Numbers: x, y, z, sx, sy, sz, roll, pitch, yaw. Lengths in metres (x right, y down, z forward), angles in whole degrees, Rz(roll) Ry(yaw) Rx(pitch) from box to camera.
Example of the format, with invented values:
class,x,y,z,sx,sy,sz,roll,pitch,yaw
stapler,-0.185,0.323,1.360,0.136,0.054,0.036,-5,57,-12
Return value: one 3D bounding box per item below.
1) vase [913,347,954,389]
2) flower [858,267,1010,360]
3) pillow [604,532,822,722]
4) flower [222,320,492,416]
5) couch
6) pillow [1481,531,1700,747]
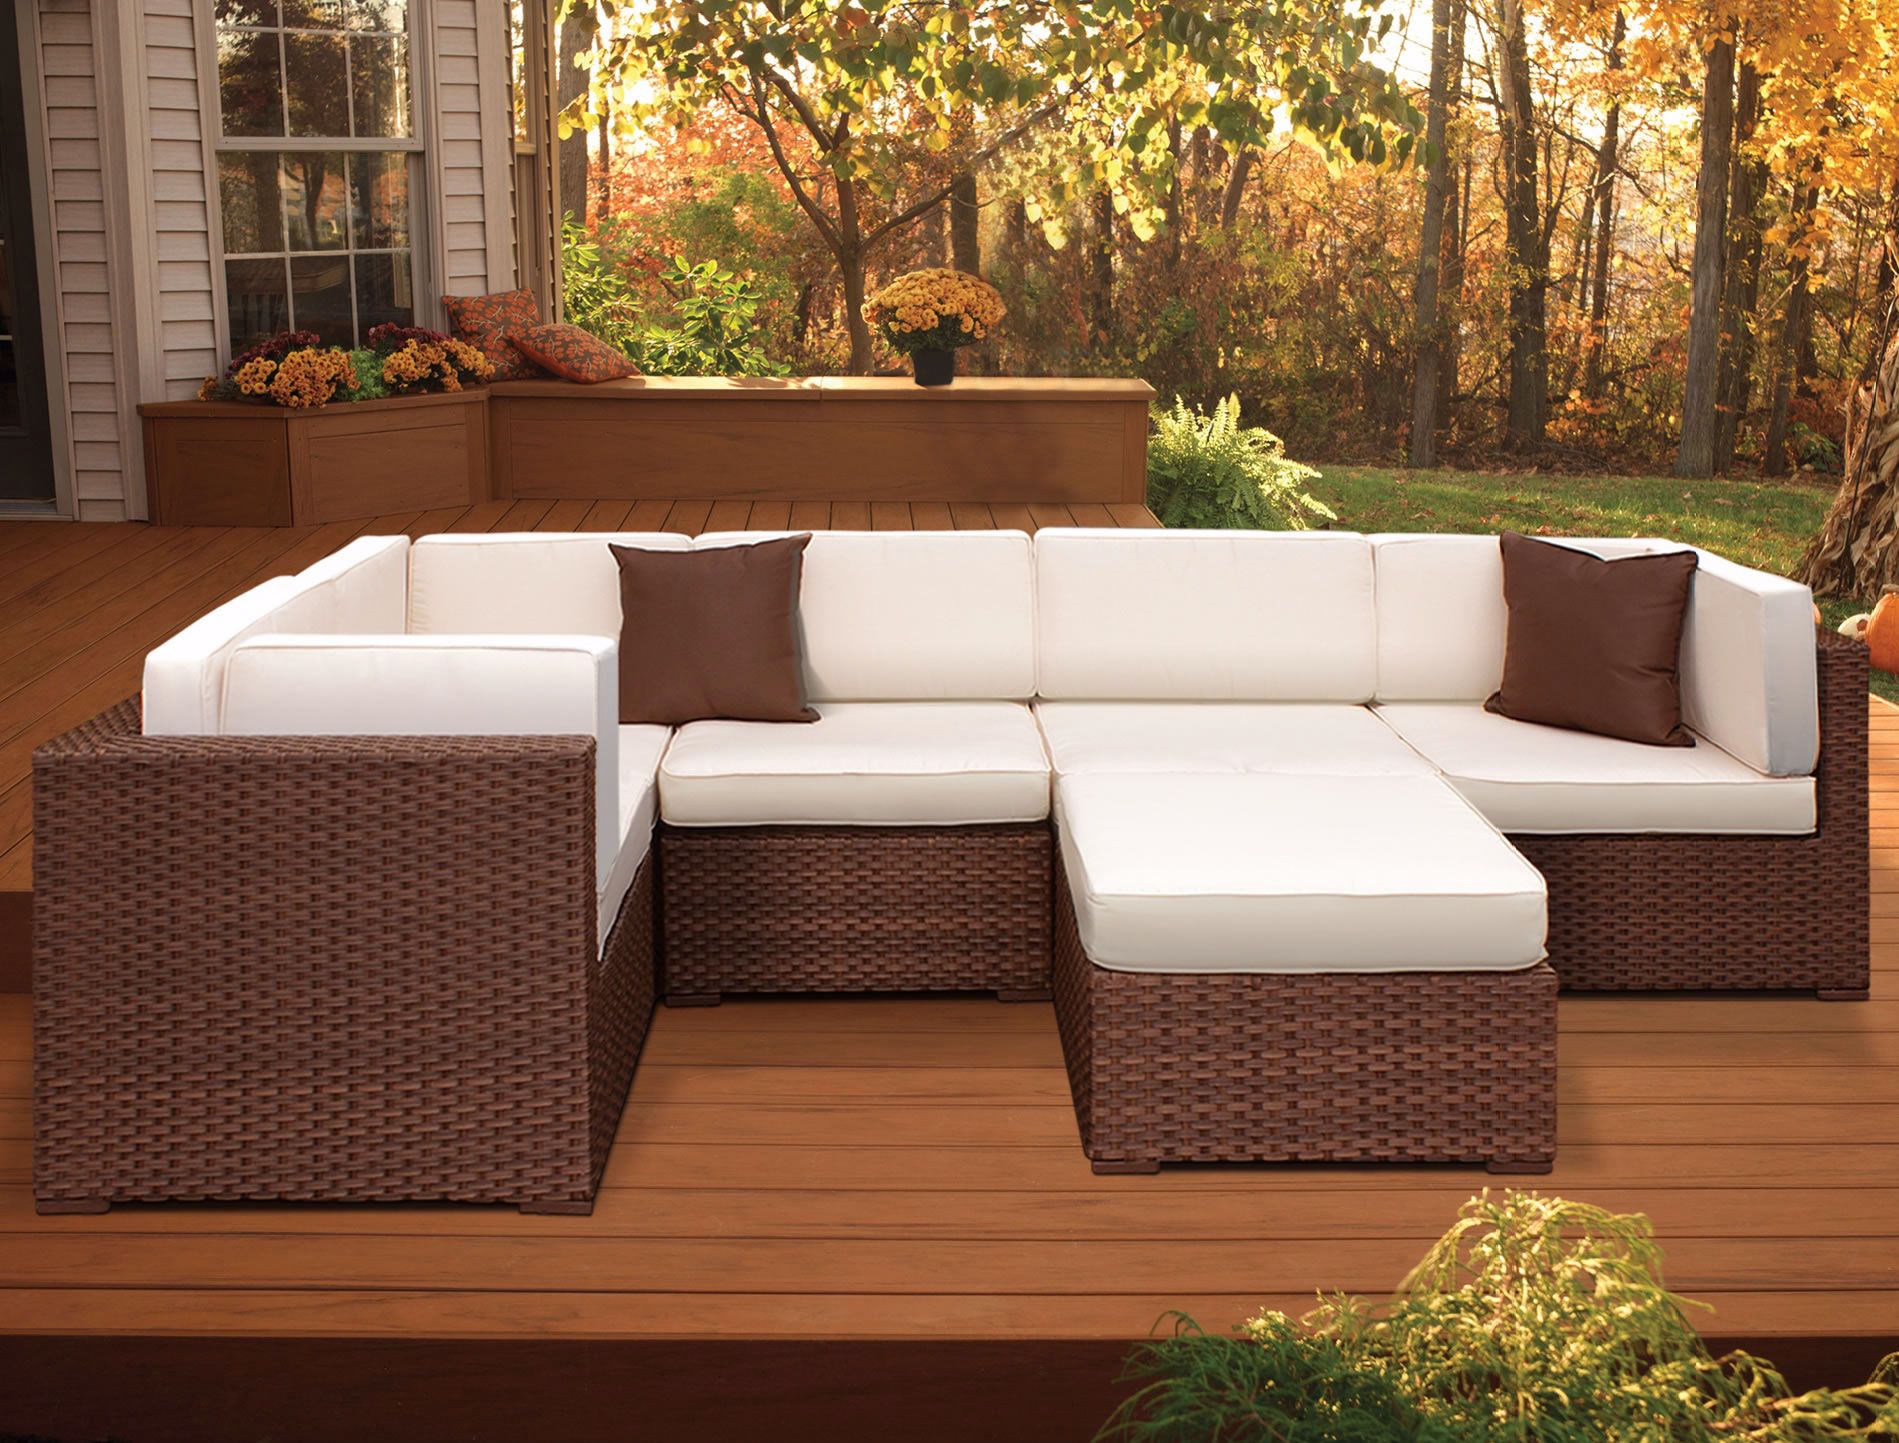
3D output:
class,x,y,z,sx,sy,sz,roll,pitch,yaw
vase,-0.076,-1.598,8.090,0.171,0.159,0.166,2,11,-1
flower,-0.109,-1.858,8.020,0.448,0.284,0.467,-16,23,-36
pillow,-0.583,-0.222,4.403,0.481,0.445,0.163,-2,9,-5
flower,-2.419,-1.481,7.496,0.459,0.296,1.114,9,16,29
couch,0.091,0.184,3.956,3.509,1.052,1.656,0,14,-5
pillow,1.527,-0.185,4.309,0.499,0.468,0.173,4,-10,41
